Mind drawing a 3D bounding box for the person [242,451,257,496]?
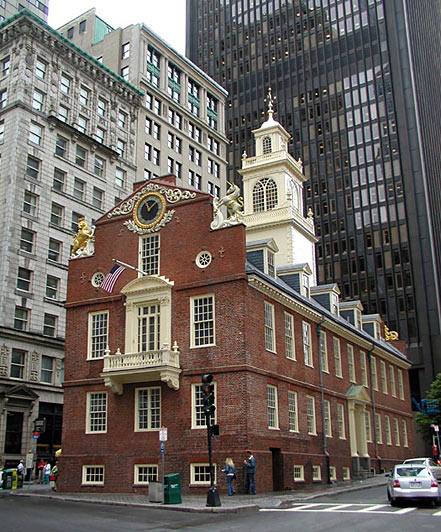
[{"bbox_3d":[1.120,8.117,24.812,0.440,1.613,1.005,-4,-19,1],"label":"person"}]

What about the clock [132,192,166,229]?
[{"bbox_3d":[-3.462,-2.657,31.033,2.008,1.868,0.174,-8,-26,28],"label":"clock"}]

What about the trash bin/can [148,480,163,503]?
[{"bbox_3d":[-2.358,8.052,22.545,0.617,0.695,0.522,-7,-19,11],"label":"trash bin/can"}]

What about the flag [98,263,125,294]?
[{"bbox_3d":[-5.119,0.485,29.934,1.053,1.669,1.348,0,-19,-8],"label":"flag"}]

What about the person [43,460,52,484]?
[{"bbox_3d":[-11.295,13.451,41.049,0.459,1.290,2.145,2,-19,-15],"label":"person"}]
